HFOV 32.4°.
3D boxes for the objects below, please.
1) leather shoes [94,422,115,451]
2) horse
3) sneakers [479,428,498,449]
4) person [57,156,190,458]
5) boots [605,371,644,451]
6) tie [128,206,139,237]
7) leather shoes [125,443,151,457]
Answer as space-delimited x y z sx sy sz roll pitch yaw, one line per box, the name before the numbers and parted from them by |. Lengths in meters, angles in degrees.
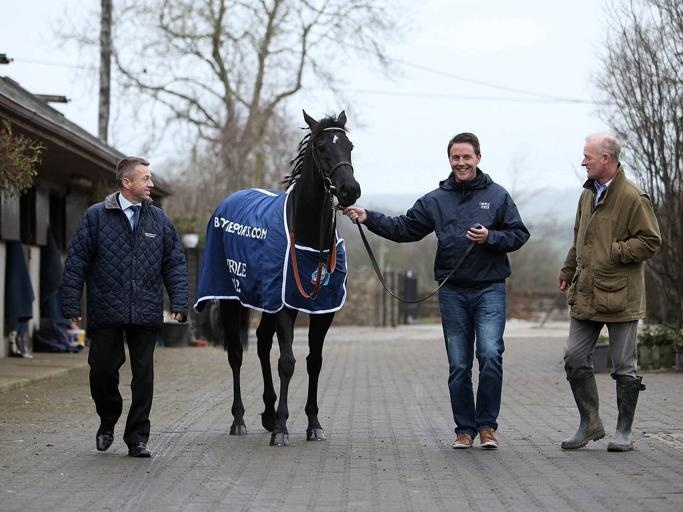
leather shoes | -2.308 1.781 11.449 0.111 0.322 0.130 12 -23 -39
horse | -0.567 0.217 12.208 0.817 3.349 2.215 0 -1 -43
sneakers | 1.458 1.800 11.588 0.177 0.199 0.203 -1 0 6
person | -2.108 0.491 11.474 1.165 2.887 0.438 0 -1 -9
boots | 2.849 1.539 11.733 0.352 0.721 0.673 -1 0 14
tie | -2.027 -0.362 11.536 0.164 0.224 0.065 0 -5 -16
leather shoes | -1.970 1.871 11.345 0.105 0.117 0.271 2 -5 -38
